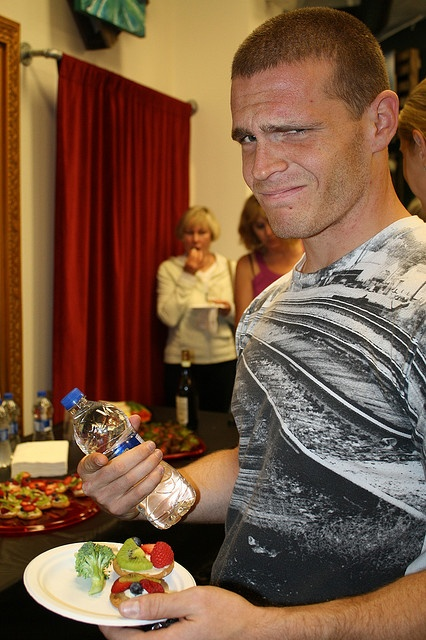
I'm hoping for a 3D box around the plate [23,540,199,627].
[{"bbox_3d":[-0.191,0.424,0.959,0.238,0.031,0.225,-2,13,-45],"label":"plate"}]

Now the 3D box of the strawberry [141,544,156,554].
[{"bbox_3d":[-0.121,0.433,1.082,0.027,0.014,0.027,4,-1,-27],"label":"strawberry"}]

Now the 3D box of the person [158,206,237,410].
[{"bbox_3d":[-0.092,0.176,3.672,0.538,1.674,0.503,-2,25,-3],"label":"person"}]

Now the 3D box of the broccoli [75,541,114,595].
[{"bbox_3d":[-0.197,0.424,0.964,0.051,0.063,0.023,6,-32,-19],"label":"broccoli"}]

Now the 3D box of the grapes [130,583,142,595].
[{"bbox_3d":[-0.120,0.422,0.894,0.016,0.018,0.016,-1,10,-7],"label":"grapes"}]
